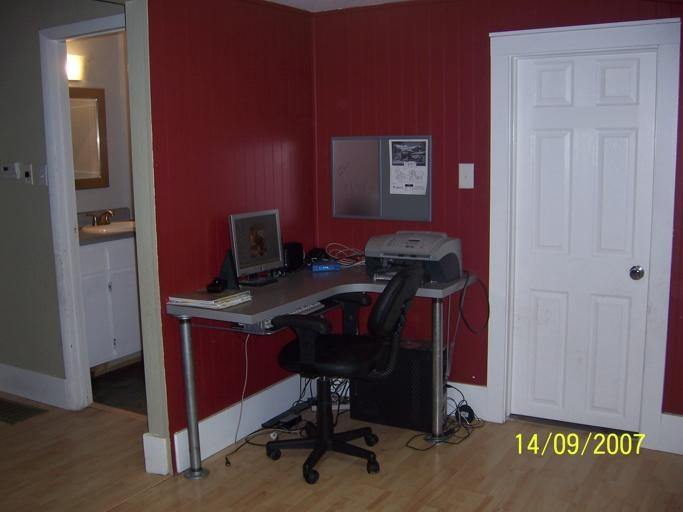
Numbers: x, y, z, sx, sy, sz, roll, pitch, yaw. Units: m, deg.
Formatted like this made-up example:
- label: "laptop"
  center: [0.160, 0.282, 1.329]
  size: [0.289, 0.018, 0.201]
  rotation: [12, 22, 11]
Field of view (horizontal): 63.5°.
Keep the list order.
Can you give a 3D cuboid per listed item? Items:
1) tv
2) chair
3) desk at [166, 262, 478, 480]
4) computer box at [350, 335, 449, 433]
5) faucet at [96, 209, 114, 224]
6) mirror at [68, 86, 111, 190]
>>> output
- label: "tv"
  center: [-0.574, -0.057, 3.577]
  size: [0.156, 0.460, 0.452]
  rotation: [1, 7, 30]
- label: "chair"
  center: [-0.005, 0.663, 3.327]
  size: [0.838, 1.248, 0.758]
  rotation: [2, 6, 20]
- label: "desk"
  center: [-0.203, 0.719, 3.293]
  size: [1.254, 0.970, 1.414]
  rotation: [2, 7, 30]
- label: "computer box"
  center: [0.316, 0.988, 3.868]
  size: [0.571, 0.344, 0.556]
  rotation: [7, 53, -4]
- label: "faucet"
  center: [-2.157, -0.359, 4.982]
  size: [0.144, 0.106, 0.053]
  rotation: [-6, -18, 22]
- label: "mirror"
  center: [-2.399, -1.046, 4.914]
  size: [0.579, 0.868, 0.031]
  rotation: [-3, -1, -6]
